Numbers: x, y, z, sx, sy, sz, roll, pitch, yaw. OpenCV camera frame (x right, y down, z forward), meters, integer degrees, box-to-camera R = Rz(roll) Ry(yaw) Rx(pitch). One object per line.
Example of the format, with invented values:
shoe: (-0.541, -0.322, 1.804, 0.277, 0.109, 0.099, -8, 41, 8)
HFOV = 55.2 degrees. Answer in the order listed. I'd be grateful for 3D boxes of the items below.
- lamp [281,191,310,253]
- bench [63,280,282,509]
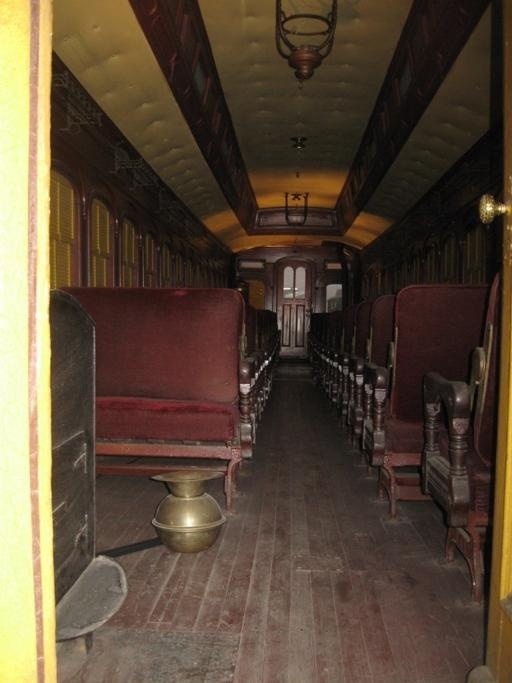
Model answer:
lamp: (1.377, -3.748, 15.072, 1.007, 1.671, 1.350, 0, -1, 1)
bench: (-0.497, 0.361, 3.541, 0.969, 1.292, 1.432, -1, -7, 3)
